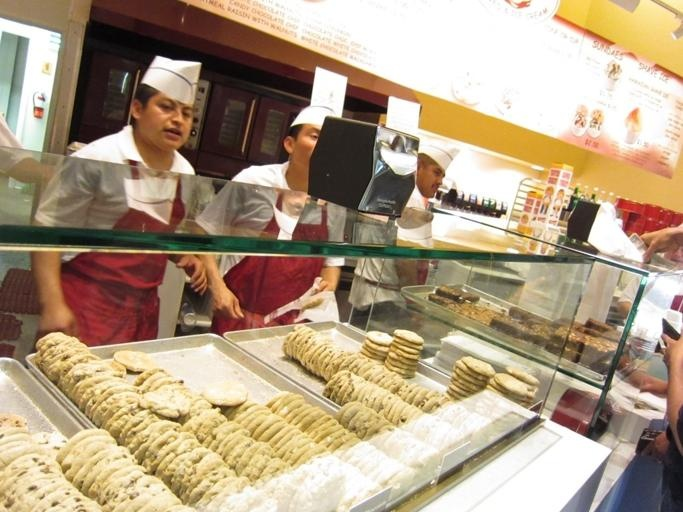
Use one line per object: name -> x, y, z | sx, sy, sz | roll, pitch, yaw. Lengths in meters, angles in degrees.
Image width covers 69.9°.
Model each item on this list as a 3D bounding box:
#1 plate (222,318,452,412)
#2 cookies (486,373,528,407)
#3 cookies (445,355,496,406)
plate -> -0.052, 0.306, 1.453 | 0.311, 0.039, 0.335 | 22, 17, 33
cookies -> 0.520, 0.411, 1.518 | 0.107, 0.044, 0.118 | 24, 9, 17
cookies -> 0.378, 0.366, 1.466 | 0.120, 0.129, 0.116 | 11, 6, -34
